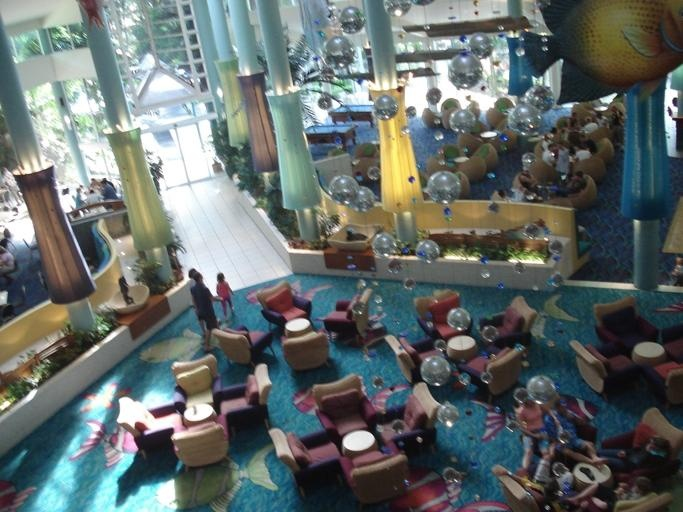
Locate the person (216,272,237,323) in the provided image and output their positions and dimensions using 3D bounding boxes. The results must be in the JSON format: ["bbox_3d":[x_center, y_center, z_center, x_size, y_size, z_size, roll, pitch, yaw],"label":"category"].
[{"bbox_3d":[-2.712,0.880,10.914,0.355,1.142,0.322,-19,27,-26],"label":"person"}]
